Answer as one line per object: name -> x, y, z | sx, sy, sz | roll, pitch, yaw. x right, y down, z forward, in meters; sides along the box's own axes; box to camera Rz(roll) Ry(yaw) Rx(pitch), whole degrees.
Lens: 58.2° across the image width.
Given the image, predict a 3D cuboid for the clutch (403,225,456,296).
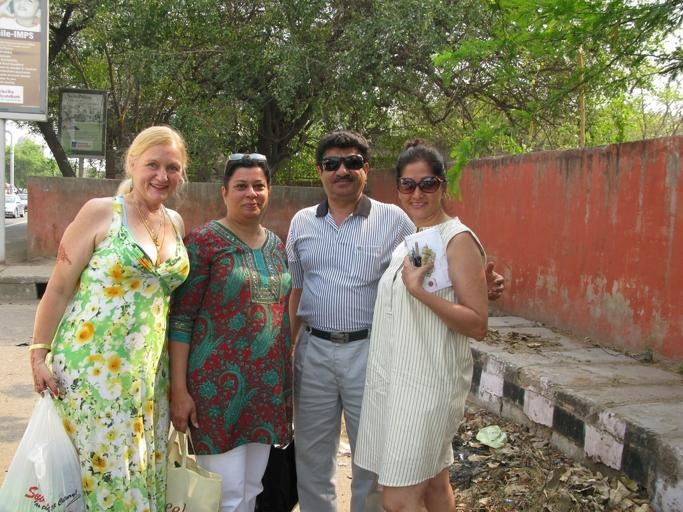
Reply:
clutch -> 0.437, 0.021, 3.065 | 0.225, 0.320, 0.091 | -1, 7, 5
